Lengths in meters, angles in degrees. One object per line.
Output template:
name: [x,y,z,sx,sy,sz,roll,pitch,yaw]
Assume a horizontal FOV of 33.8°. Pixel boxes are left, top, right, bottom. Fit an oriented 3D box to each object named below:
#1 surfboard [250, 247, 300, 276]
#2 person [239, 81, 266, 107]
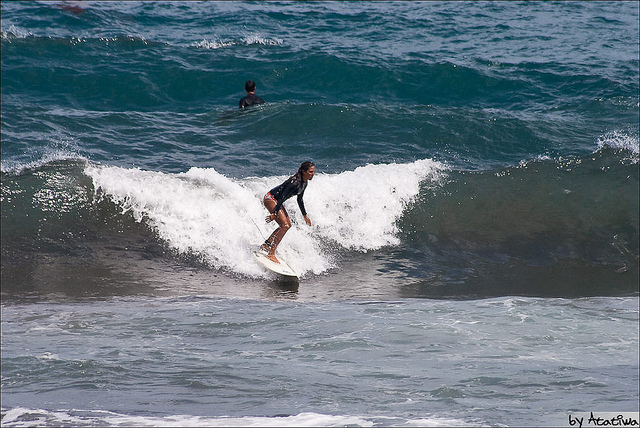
surfboard: [-1.209,1.122,24.879,1.448,0.174,0.455,26,25,28]
person: [-1.932,-3.414,29.663,0.704,0.717,0.414,-1,4,-9]
